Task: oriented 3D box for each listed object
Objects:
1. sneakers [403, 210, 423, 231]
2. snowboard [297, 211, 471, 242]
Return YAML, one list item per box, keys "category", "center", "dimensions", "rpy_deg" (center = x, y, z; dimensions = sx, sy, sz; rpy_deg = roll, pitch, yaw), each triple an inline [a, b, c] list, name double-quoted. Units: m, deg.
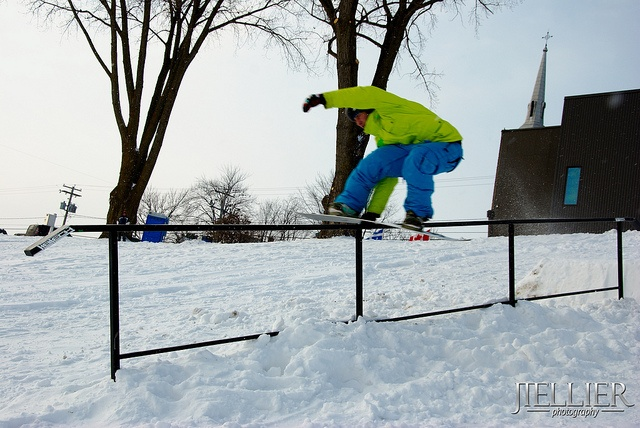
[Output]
- category: "sneakers"
  center: [1.326, 0.085, 6.519]
  dimensions: [0.301, 0.273, 0.177]
  rpy_deg: [3, -1, 6]
- category: "snowboard"
  center: [0.985, 0.288, 9.176]
  dimensions: [3.352, 0.238, 0.472]
  rpy_deg: [13, -8, 0]
